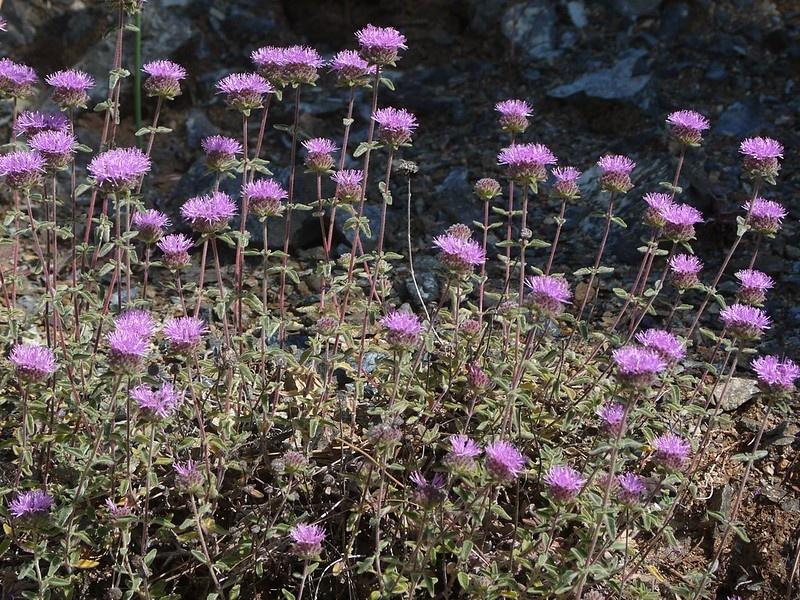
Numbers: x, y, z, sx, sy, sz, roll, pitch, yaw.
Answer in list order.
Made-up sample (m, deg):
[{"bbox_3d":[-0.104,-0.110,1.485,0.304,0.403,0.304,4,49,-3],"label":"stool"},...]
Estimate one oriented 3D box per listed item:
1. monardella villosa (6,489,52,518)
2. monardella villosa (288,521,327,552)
[{"bbox_3d":[-1.945,1.053,4.995,0.186,0.113,0.184,6,17,39],"label":"monardella villosa"},{"bbox_3d":[-0.499,1.230,4.988,0.186,0.159,0.173,3,-7,10],"label":"monardella villosa"}]
